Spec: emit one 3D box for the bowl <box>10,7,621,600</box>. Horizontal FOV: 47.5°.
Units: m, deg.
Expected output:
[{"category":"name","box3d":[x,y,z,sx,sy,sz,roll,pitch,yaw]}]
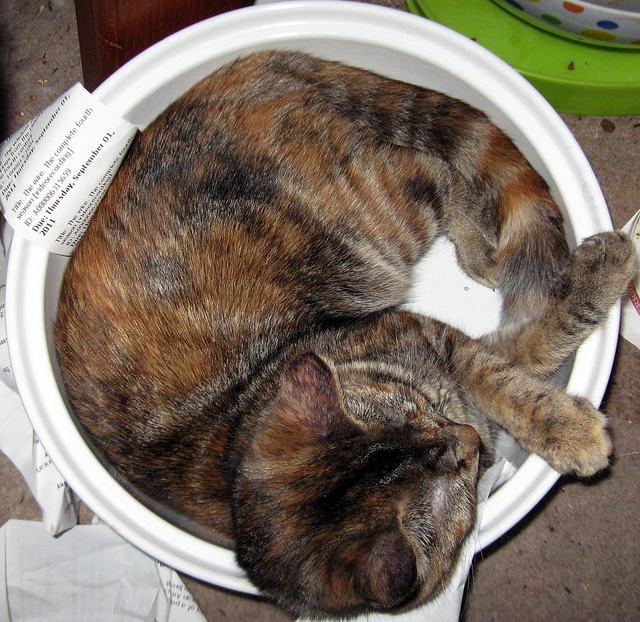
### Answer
[{"category":"bowl","box3d":[0.013,-0.014,1.619,1.264,0.475,1.247,0,82,0]}]
